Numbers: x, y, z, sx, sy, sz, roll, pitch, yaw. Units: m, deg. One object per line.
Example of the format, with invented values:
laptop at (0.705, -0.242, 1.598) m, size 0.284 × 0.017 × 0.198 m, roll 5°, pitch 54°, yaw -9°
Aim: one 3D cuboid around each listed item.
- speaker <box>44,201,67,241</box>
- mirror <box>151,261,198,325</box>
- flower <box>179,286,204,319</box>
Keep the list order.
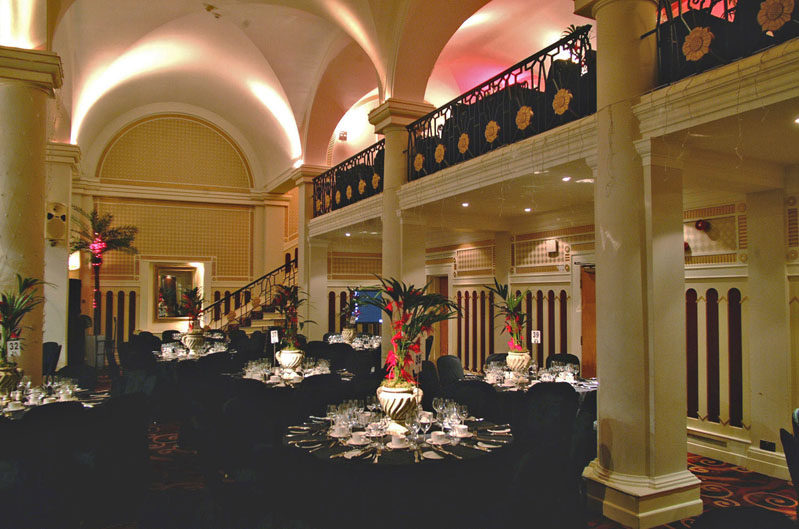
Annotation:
speaker at (-6.276, -0.745, 11.451) m, size 0.314 × 0.805 × 0.185 m, roll 3°, pitch -6°, yaw -31°
mirror at (-6.081, 0.814, 16.668) m, size 1.595 × 2.249 × 0.106 m, roll 5°, pitch -16°, yaw -35°
flower at (-4.039, 0.763, 12.212) m, size 0.327 × 0.658 × 0.973 m, roll 1°, pitch -6°, yaw -16°
